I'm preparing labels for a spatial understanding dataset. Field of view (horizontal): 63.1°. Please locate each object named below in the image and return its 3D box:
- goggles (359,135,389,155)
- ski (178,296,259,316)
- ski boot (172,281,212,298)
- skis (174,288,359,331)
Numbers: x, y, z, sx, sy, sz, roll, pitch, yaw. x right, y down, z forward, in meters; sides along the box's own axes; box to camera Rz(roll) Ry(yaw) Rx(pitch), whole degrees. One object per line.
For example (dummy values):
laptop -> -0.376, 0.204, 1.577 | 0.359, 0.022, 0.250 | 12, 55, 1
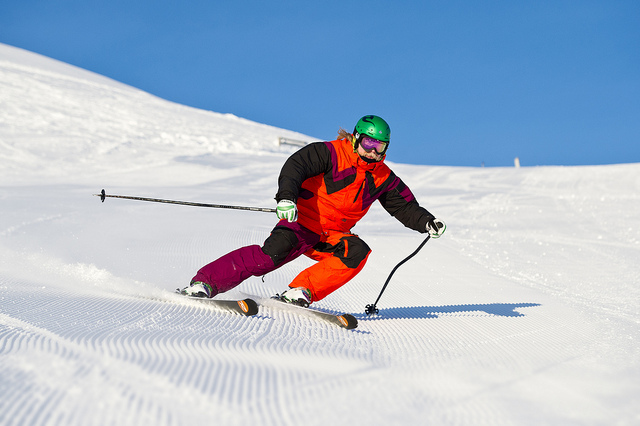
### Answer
goggles -> 0.567, -0.709, 5.483 | 0.288, 0.175, 0.110 | 8, 8, -16
ski -> -0.937, 0.868, 5.161 | 0.727, 0.174, 0.120 | 14, 9, 25
ski boot -> -1.322, 0.778, 5.405 | 0.407, 0.183, 0.135 | 9, -28, 10
skis -> -0.568, 0.979, 5.274 | 1.720, 0.177, 0.200 | 9, 11, 23
